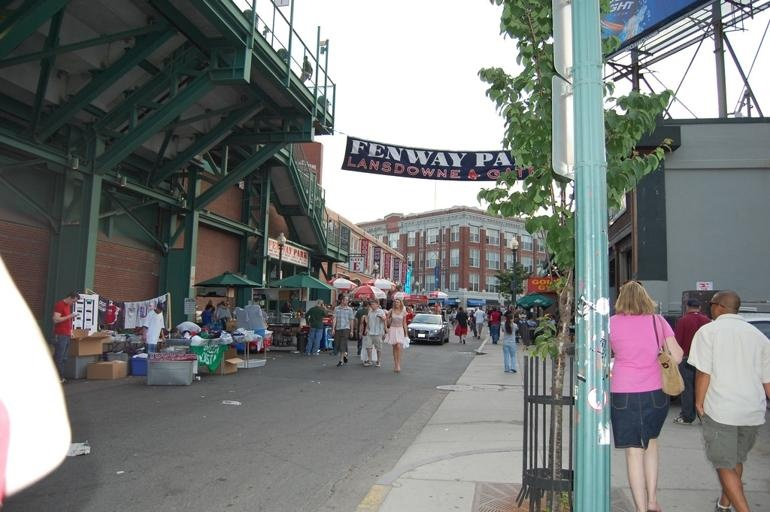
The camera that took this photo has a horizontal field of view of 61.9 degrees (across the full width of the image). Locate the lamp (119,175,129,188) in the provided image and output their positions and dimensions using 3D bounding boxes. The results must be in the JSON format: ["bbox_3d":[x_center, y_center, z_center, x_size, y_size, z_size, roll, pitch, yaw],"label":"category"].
[{"bbox_3d":[-7.845,-2.242,19.365,0.271,0.380,0.251,-5,-3,20],"label":"lamp"}]

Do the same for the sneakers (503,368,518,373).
[{"bbox_3d":[3.701,3.410,18.819,0.430,0.201,0.140,-9,-10,32],"label":"sneakers"}]

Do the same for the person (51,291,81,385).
[{"bbox_3d":[-7.505,1.911,15.057,0.472,2.065,1.057,3,-8,-26],"label":"person"}]

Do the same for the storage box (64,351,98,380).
[{"bbox_3d":[-7.386,2.727,15.614,0.436,0.603,0.864,-1,-5,13],"label":"storage box"}]

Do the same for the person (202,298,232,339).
[{"bbox_3d":[-5.995,2.227,22.747,1.055,1.641,0.664,3,-9,-9],"label":"person"}]

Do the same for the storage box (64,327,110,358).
[{"bbox_3d":[-7.317,2.142,15.772,0.609,0.475,0.676,-4,-8,33],"label":"storage box"}]

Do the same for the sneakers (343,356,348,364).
[{"bbox_3d":[-1.206,3.320,20.047,0.091,0.293,0.109,-6,16,-19],"label":"sneakers"}]

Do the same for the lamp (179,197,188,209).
[{"bbox_3d":[-7.141,-1.850,22.781,0.267,0.540,0.281,2,2,19],"label":"lamp"}]

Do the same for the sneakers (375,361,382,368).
[{"bbox_3d":[-0.204,3.424,19.995,0.133,0.177,0.425,-1,-9,2],"label":"sneakers"}]

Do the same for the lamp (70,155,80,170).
[{"bbox_3d":[-8.504,-2.551,17.633,0.203,0.358,0.219,1,-7,-14],"label":"lamp"}]

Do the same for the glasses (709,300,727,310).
[{"bbox_3d":[4.257,0.634,8.169,0.158,0.053,0.168,9,3,20],"label":"glasses"}]

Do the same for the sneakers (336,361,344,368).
[{"bbox_3d":[-1.346,3.356,19.637,0.111,0.139,0.321,-3,-15,13],"label":"sneakers"}]

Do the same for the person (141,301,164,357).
[{"bbox_3d":[-5.945,1.847,16.561,0.450,1.313,1.592,2,-8,-21],"label":"person"}]

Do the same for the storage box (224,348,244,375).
[{"bbox_3d":[-4.179,2.894,17.533,0.515,0.424,0.538,-2,-5,16],"label":"storage box"}]

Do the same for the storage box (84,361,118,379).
[{"bbox_3d":[-6.909,2.840,15.585,0.430,0.289,0.456,1,-3,4],"label":"storage box"}]

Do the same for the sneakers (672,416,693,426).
[{"bbox_3d":[5.480,3.051,11.777,0.334,0.168,0.143,6,-9,1],"label":"sneakers"}]

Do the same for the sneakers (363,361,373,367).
[{"bbox_3d":[-0.527,3.417,19.963,0.108,0.142,0.318,-2,-15,11],"label":"sneakers"}]
